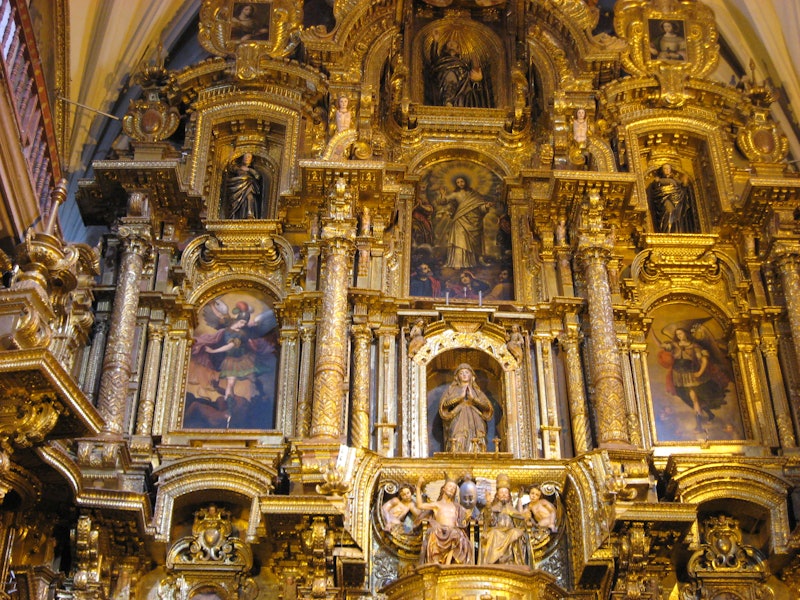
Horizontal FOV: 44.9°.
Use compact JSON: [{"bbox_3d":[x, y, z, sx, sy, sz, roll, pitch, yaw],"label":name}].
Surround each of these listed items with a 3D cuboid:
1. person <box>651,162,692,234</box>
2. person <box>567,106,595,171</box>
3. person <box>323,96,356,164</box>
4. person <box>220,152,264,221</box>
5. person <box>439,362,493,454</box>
[{"bbox_3d":[5.166,-1.914,18.287,0.766,1.473,0.249,-1,-28,3],"label":"person"},{"bbox_3d":[3.261,-2.892,17.530,0.373,1.137,0.356,-25,-37,39],"label":"person"},{"bbox_3d":[-1.055,-3.007,17.212,0.527,1.565,0.319,3,-28,-5],"label":"person"},{"bbox_3d":[-2.952,-2.079,18.248,0.679,1.453,0.394,-4,-25,7],"label":"person"},{"bbox_3d":[1.032,1.812,15.266,0.762,1.711,0.461,1,-40,-1],"label":"person"}]
